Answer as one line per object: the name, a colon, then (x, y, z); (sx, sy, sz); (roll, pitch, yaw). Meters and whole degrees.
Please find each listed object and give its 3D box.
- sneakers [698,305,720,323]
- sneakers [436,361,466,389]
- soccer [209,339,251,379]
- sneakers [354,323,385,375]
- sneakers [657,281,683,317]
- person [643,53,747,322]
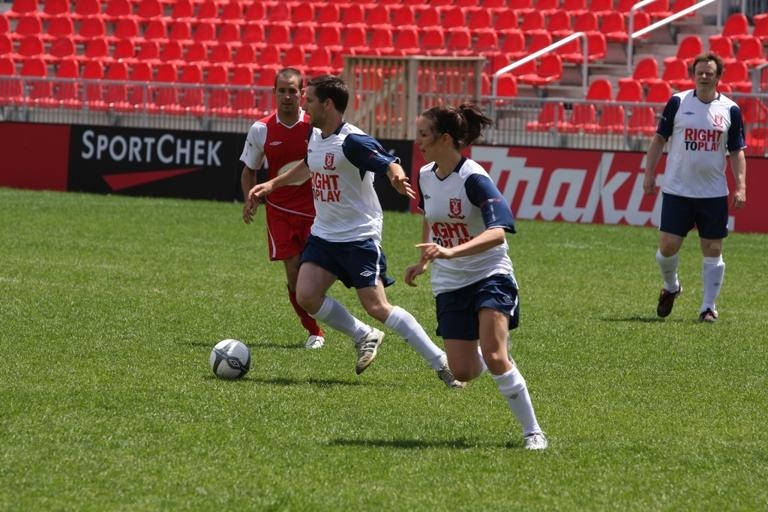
sneakers: (3.671, 0.649, 14.070); (0.185, 0.127, 0.287); (3, 1, 14)
sneakers: (0.696, 1.197, 12.414); (0.377, 0.275, 0.140); (3, 6, 26)
soccer: (-1.559, 1.029, 12.479); (0.407, 0.372, 0.185); (1, 6, -8)
sneakers: (-0.173, 0.931, 12.621); (0.242, 0.190, 0.557); (32, 44, -3)
sneakers: (3.214, 0.458, 14.181); (0.162, 0.489, 0.189); (18, -6, 41)
person: (3.496, -0.786, 14.028); (1.078, 2.992, 0.338); (3, 6, 11)
